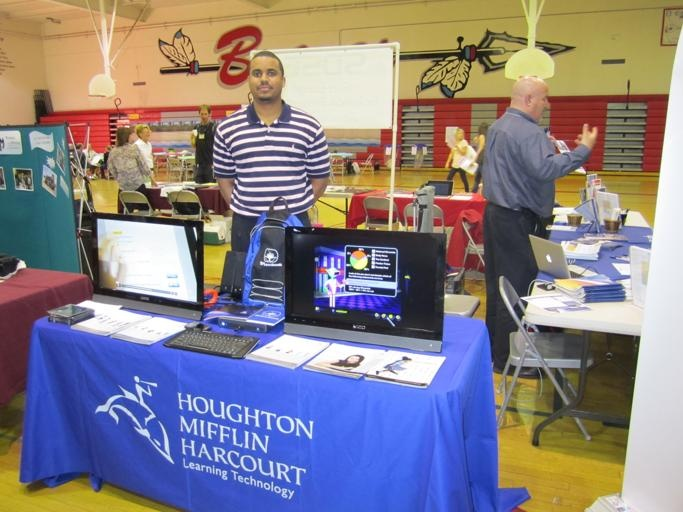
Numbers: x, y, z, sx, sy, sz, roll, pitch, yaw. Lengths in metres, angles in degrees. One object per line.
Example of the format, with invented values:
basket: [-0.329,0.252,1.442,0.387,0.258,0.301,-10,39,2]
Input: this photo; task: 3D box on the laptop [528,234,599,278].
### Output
laptop: [1.403,-0.026,3.530,0.289,0.218,0.273,-7,17,-23]

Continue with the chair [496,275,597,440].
chair: [1.268,0.648,3.401,0.709,1.077,0.605,-1,21,13]

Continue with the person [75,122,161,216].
person: [-3.078,-1.230,8.067,0.620,1.219,2.749,-4,12,-21]

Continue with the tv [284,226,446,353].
tv: [0.117,0.151,2.524,0.507,0.400,0.056,3,6,17]

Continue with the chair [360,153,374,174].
chair: [0.728,-2.696,16.030,0.391,0.519,0.767,1,11,1]

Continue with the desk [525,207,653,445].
desk: [1.294,0.519,3.278,0.698,0.731,1.443,2,15,13]

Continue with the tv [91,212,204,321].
tv: [-0.992,0.061,2.834,0.485,0.385,0.034,7,12,22]
